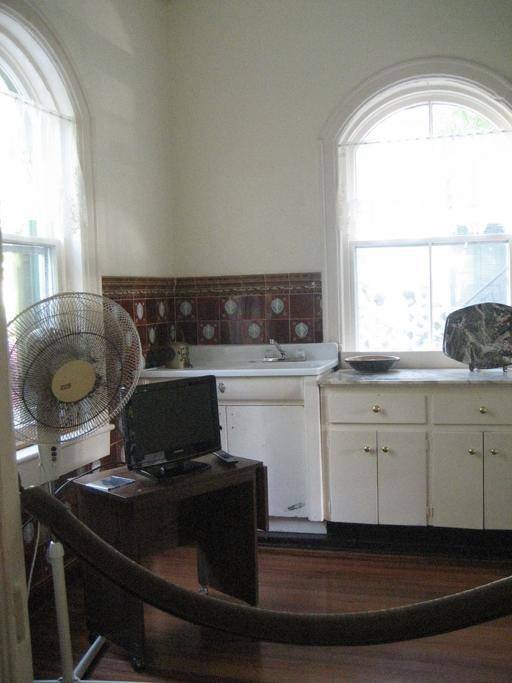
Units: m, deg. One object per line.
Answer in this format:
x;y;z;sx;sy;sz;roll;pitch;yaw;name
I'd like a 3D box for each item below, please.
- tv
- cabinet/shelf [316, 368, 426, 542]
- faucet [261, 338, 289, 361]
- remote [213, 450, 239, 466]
-0.310;0.321;2.133;0.179;0.327;0.407;-5;-2;40;tv
0.607;0.553;3.065;0.699;0.945;0.643;-1;-1;14;cabinet/shelf
0.114;0.043;3.706;0.135;0.082;0.137;0;-1;16;faucet
-0.121;0.453;2.310;0.043;0.019;0.080;-11;19;-43;remote
